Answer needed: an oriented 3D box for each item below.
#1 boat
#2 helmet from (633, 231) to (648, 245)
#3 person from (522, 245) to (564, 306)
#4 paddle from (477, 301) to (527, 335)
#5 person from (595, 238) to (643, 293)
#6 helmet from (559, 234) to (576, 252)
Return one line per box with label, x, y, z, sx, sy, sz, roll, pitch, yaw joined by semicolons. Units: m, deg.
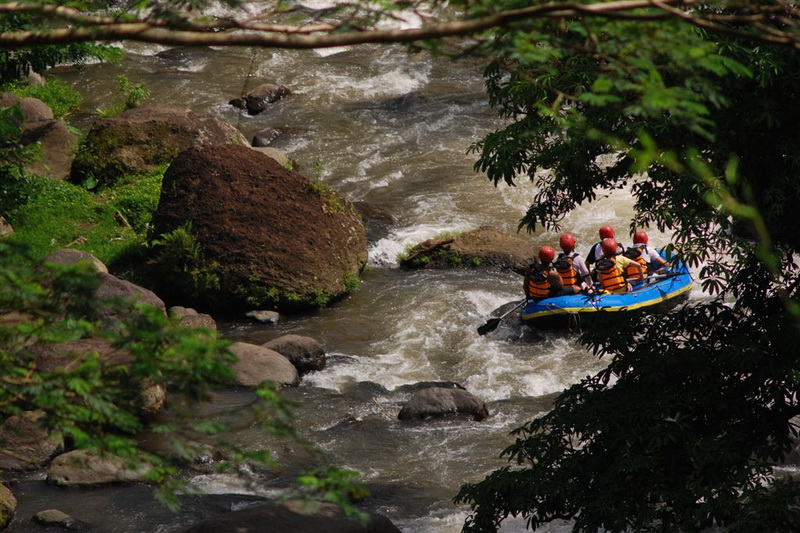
boat;3.947;0.587;23.597;2.866;0.528;1.511;-12;11;-14
helmet;4.457;-0.514;24.070;0.216;0.242;0.229;5;57;0
person;2.760;0.170;24.095;0.953;1.066;0.781;4;27;9
paddle;1.904;1.003;24.031;1.268;0.188;0.067;-28;19;-23
person;3.995;0.028;24.069;0.879;1.009;0.887;-8;10;24
helmet;3.162;-0.423;24.457;0.335;0.371;0.361;7;52;12
